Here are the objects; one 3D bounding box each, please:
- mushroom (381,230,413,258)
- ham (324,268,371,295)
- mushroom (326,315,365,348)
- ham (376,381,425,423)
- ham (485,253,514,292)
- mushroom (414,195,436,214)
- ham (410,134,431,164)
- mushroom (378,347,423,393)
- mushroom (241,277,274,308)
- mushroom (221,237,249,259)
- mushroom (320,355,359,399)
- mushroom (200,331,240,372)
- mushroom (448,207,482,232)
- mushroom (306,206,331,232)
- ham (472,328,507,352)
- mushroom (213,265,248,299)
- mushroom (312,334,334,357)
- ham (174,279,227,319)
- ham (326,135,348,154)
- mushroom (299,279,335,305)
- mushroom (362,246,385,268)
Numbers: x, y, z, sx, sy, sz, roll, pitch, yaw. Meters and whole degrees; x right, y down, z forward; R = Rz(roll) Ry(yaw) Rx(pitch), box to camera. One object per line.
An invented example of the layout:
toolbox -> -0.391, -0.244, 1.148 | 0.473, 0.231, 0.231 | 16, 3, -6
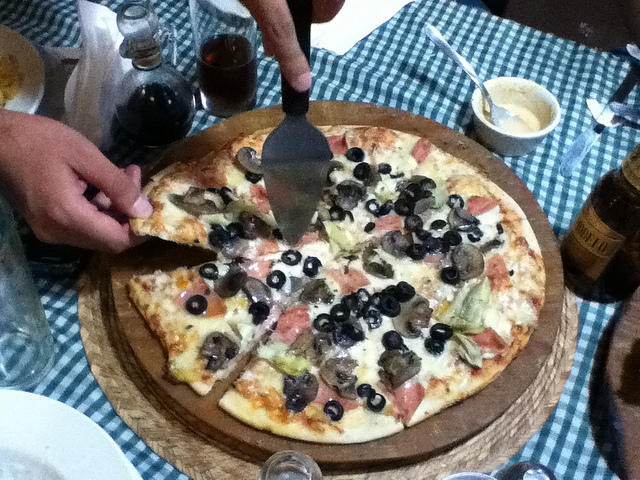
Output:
mushroom -> 0.476, 0.018, 3.852 | 0.187, 0.061, 0.171 | 21, 78, 4
ham -> 0.167, 0.230, 3.769 | 0.186, 0.089, 0.235 | -35, 80, -8
mushroom -> 0.149, 0.526, 3.566 | 0.165, 0.062, 0.214 | 34, 79, 7
ham -> 0.457, 0.891, 3.401 | 0.191, 0.056, 0.191 | 19, 60, 5
ham -> 1.091, 0.203, 3.775 | 0.136, 0.048, 0.201 | 0, 66, -3
mushroom -> 0.668, -0.225, 3.967 | 0.175, 0.067, 0.079 | -27, 79, -6
ham -> 0.682, -0.612, 4.152 | 0.107, 0.049, 0.187 | 25, 79, 16
mushroom -> 0.452, 0.740, 3.496 | 0.242, 0.078, 0.186 | -37, 66, -5
mushroom -> -0.367, 0.316, 3.708 | 0.212, 0.057, 0.138 | 15, 78, 3
mushroom -> -0.522, 0.052, 3.801 | 0.164, 0.034, 0.104 | -36, 80, -8
mushroom -> 0.110, 0.760, 3.447 | 0.203, 0.057, 0.203 | 7, 54, 1
mushroom -> -0.596, 0.649, 3.531 | 0.196, 0.082, 0.212 | 35, 79, 7
mushroom -> 0.907, -0.107, 3.909 | 0.209, 0.068, 0.150 | 29, 79, 6
mushroom -> 0.003, -0.120, 3.892 | 0.107, 0.050, 0.198 | 24, 78, 5
ham -> 0.968, 0.590, 3.544 | 0.124, 0.069, 0.168 | -36, 80, -8
mushroom -> -0.541, 0.258, 3.730 | 0.146, 0.075, 0.196 | 29, 73, 2
mushroom -> 0.015, 0.610, 3.532 | 0.116, 0.044, 0.132 | 6, 77, 1
ham -> -0.684, 0.354, 3.667 | 0.217, 0.054, 0.216 | 31, 68, 5
ham -> 0.118, -0.646, 4.154 | 0.123, 0.050, 0.156 | -12, 78, -3
mushroom -> -0.028, 0.325, 3.677 | 0.157, 0.043, 0.156 | -34, 51, -9
mushroom -> 0.317, 0.107, 3.820 | 0.156, 0.037, 0.085 | 40, 67, -5
